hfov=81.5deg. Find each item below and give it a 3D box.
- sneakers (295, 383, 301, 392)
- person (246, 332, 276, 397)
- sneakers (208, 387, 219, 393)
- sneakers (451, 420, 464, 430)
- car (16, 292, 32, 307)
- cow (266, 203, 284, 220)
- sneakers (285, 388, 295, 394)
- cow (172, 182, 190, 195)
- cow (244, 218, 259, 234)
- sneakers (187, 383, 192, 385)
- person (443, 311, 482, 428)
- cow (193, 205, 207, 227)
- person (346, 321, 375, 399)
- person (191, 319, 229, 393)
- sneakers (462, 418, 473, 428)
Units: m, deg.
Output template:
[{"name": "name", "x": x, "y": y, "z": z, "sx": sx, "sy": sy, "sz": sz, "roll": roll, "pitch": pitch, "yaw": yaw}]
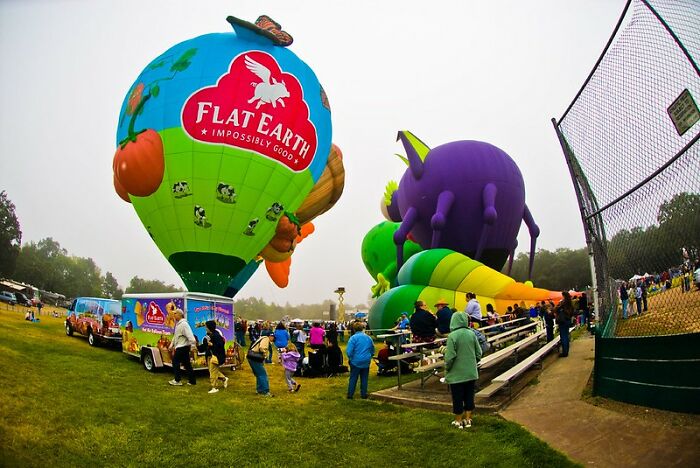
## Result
[{"name": "sneakers", "x": -1.543, "y": 4.552, "z": 11.968, "sx": 0.100, "sy": 0.270, "sz": 0.112, "roll": 4, "pitch": 24, "yaw": -43}, {"name": "person", "x": -2.539, "y": 3.730, "z": 11.485, "sx": 0.601, "sy": 1.637, "sz": 0.893, "roll": -4, "pitch": -6, "yaw": -5}, {"name": "sneakers", "x": -3.771, "y": 4.320, "z": 11.214, "sx": 0.253, "sy": 0.133, "sz": 0.346, "roll": -3, "pitch": -7, "yaw": -20}, {"name": "sneakers", "x": 2.156, "y": 3.789, "z": 8.090, "sx": 0.092, "sy": 0.106, "sz": 0.233, "roll": 4, "pitch": -9, "yaw": -5}, {"name": "car", "x": -37.266, "y": 7.580, "z": 46.290, "sx": 3.483, "sy": 1.732, "sz": 1.088, "roll": -6, "pitch": -7, "yaw": 33}, {"name": "cow", "x": -3.552, "y": -0.992, "z": 19.099, "sx": 0.634, "sy": 0.825, "sz": 0.299, "roll": 47, "pitch": -2, "yaw": -34}, {"name": "sneakers", "x": -1.710, "y": 4.607, "z": 11.859, "sx": 0.093, "sy": 0.116, "sz": 0.269, "roll": 11, "pitch": -9, "yaw": -32}, {"name": "cow", "x": -7.324, "y": -1.922, "z": 17.529, "sx": 0.732, "sy": 0.556, "sz": 0.202, "roll": -6, "pitch": -6, "yaw": 5}, {"name": "cow", "x": -4.584, "y": -0.332, "z": 18.825, "sx": 0.366, "sy": 0.929, "sz": 0.362, "roll": 23, "pitch": 0, "yaw": -30}, {"name": "sneakers", "x": -4.708, "y": 4.433, "z": 11.934, "sx": 0.105, "sy": 0.056, "sz": 0.146, "roll": 3, "pitch": -8, "yaw": 19}, {"name": "person", "x": 2.237, "y": 2.700, "z": 8.072, "sx": 0.640, "sy": 2.213, "sz": 0.736, "roll": -10, "pitch": -8, "yaw": 40}, {"name": "cow", "x": -6.533, "y": -0.711, "z": 17.757, "sx": 0.586, "sy": 1.184, "sz": 0.351, "roll": 9, "pitch": 23, "yaw": 21}, {"name": "person", "x": 0.258, "y": 3.433, "z": 11.196, "sx": 0.806, "sy": 2.045, "sz": 1.525, "roll": -5, "pitch": -6, "yaw": -1}, {"name": "person", "x": -4.275, "y": 3.693, "z": 12.256, "sx": 1.280, "sy": 2.081, "sz": 0.936, "roll": 15, "pitch": -51, "yaw": -30}, {"name": "sneakers", "x": 2.346, "y": 3.721, "z": 8.079, "sx": 0.183, "sy": 0.166, "sz": 0.259, "roll": -7, "pitch": -7, "yaw": 15}]
